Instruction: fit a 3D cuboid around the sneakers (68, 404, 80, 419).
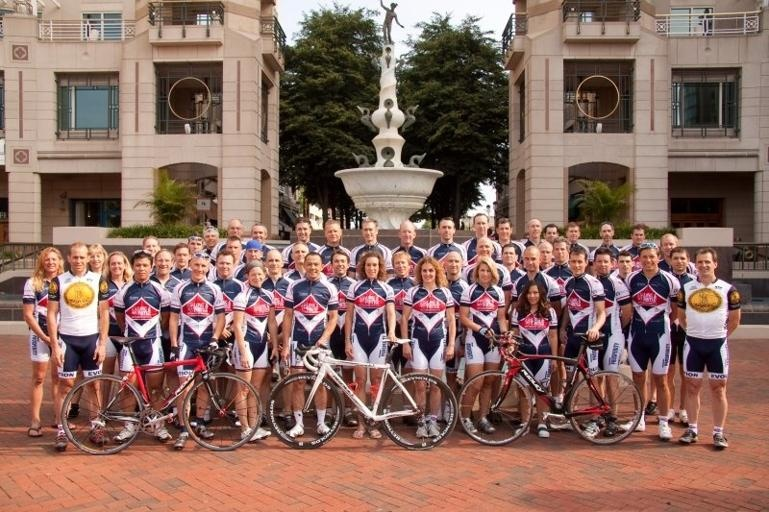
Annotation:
[{"bbox_3d":[-7.956,4.038,30.473,0.245,0.397,0.276,3,32,-6],"label":"sneakers"}]
